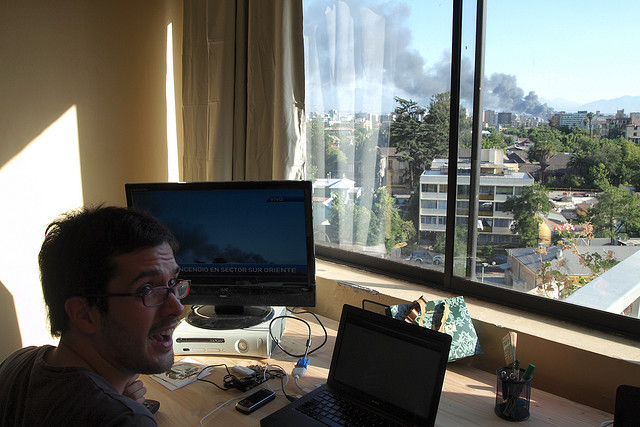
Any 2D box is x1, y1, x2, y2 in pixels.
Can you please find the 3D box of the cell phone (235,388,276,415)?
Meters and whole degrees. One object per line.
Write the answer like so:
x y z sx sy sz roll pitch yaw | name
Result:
-0.248 0.730 1.946 0.063 0.025 0.123 13 21 39 | cell phone

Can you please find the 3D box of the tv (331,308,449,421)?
0.294 0.599 1.980 0.470 0.284 0.335 17 -4 20 | tv

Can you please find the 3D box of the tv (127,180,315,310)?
-0.401 0.117 2.117 0.575 0.407 0.174 0 5 4 | tv

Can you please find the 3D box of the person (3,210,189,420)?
-0.752 0.312 1.865 0.632 0.779 0.708 -4 9 -24 | person

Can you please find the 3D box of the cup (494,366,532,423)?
0.714 0.678 1.880 0.158 0.173 0.165 -1 3 0 | cup

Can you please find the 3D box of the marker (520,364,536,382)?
0.780 0.603 1.869 0.041 0.066 0.096 4 12 27 | marker
